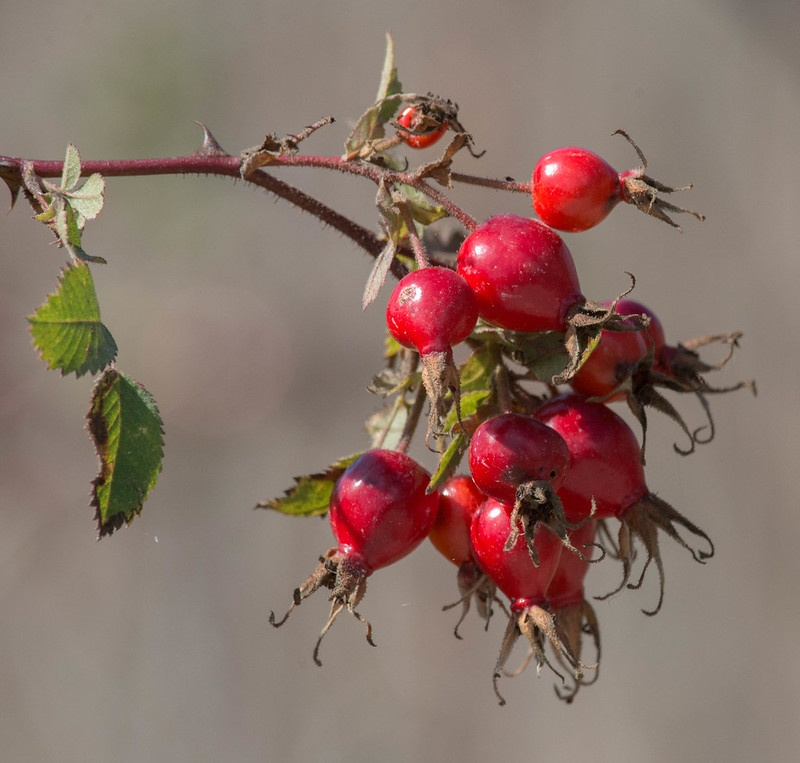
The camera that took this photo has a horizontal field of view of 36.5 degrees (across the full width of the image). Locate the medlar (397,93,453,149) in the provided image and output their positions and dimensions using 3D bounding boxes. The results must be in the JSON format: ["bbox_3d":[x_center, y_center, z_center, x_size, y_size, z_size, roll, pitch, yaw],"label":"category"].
[{"bbox_3d":[0.029,-0.340,1.631,0.068,0.100,0.074,7,64,-2],"label":"medlar"}]

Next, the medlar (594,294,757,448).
[{"bbox_3d":[0.309,-0.012,1.518,0.166,0.111,0.093,27,40,0],"label":"medlar"}]

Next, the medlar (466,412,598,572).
[{"bbox_3d":[0.163,0.115,1.511,0.124,0.253,0.079,-18,28,9],"label":"medlar"}]

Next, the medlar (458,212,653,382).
[{"bbox_3d":[0.186,-0.137,1.541,0.240,0.143,0.151,37,103,-2],"label":"medlar"}]
